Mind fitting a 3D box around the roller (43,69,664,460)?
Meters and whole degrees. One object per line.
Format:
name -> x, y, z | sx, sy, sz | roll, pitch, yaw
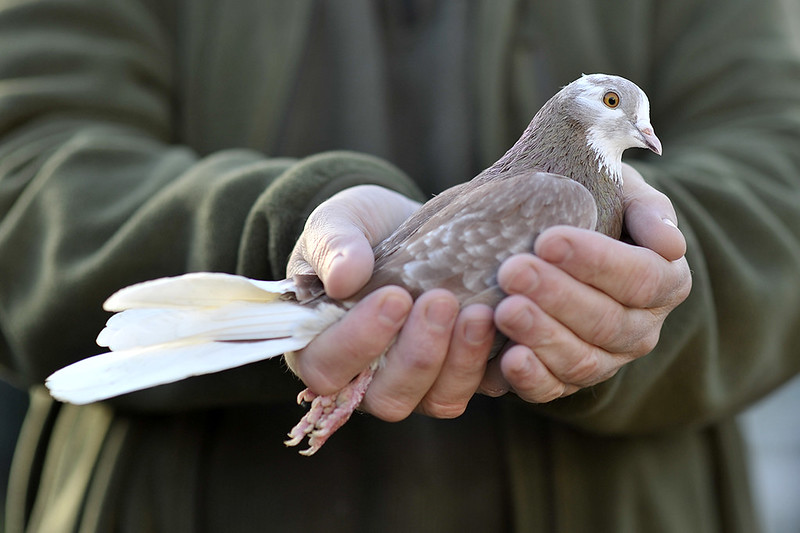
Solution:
roller -> -0.060, -0.065, 2.679 | 1.847, 0.736, 0.386 | -11, 35, -20
